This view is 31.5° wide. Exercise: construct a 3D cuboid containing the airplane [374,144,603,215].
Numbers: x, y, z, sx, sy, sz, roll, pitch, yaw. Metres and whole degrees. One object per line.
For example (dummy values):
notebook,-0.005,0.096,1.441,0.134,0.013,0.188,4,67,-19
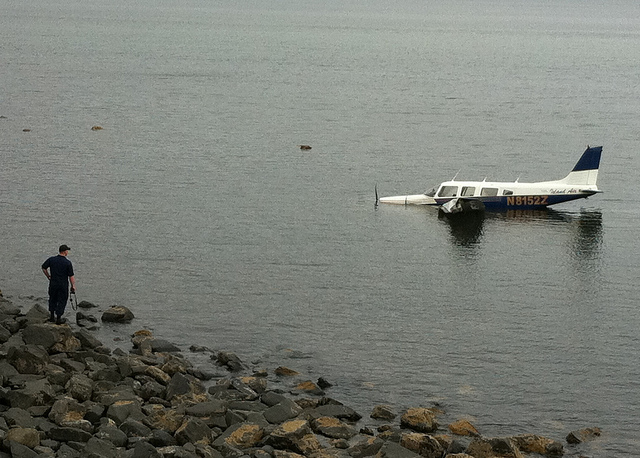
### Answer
airplane,15.532,-4.194,97.027,16.424,5.977,2.462,2,19,1
